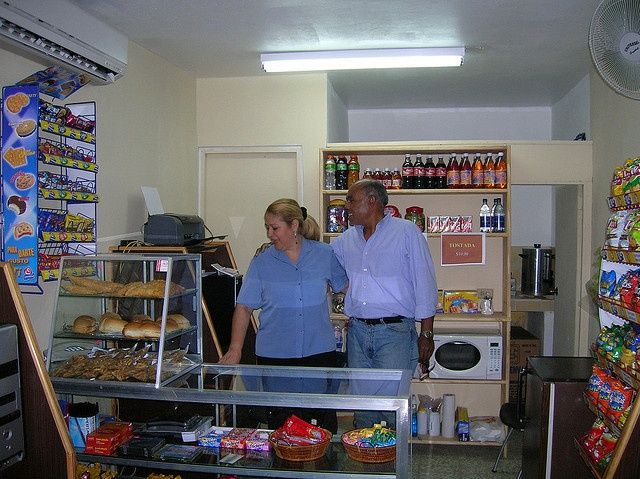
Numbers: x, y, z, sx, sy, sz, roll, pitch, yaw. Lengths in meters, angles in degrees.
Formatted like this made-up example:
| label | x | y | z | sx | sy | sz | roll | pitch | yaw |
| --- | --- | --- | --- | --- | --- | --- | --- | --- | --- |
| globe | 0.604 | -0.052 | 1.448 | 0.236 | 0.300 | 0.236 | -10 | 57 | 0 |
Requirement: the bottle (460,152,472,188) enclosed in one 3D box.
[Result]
| label | x | y | z | sx | sy | sz | roll | pitch | yaw |
| --- | --- | --- | --- | --- | --- | --- | --- | --- | --- |
| bottle | 1.251 | -0.596 | 4.603 | 0.111 | 0.316 | 0.113 | 0 | 1 | 0 |

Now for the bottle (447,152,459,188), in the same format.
| label | x | y | z | sx | sy | sz | roll | pitch | yaw |
| --- | --- | --- | --- | --- | --- | --- | --- | --- | --- |
| bottle | 1.157 | -0.594 | 4.629 | 0.100 | 0.326 | 0.211 | 0 | 1 | 12 |

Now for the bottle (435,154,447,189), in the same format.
| label | x | y | z | sx | sy | sz | roll | pitch | yaw |
| --- | --- | --- | --- | --- | --- | --- | --- | --- | --- |
| bottle | 1.053 | -0.581 | 4.621 | 0.092 | 0.295 | 0.135 | 0 | 1 | 11 |

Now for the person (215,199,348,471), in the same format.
| label | x | y | z | sx | sy | sz | roll | pitch | yaw |
| --- | --- | --- | --- | --- | --- | --- | --- | --- | --- |
| person | -0.211 | 0.412 | 2.912 | 0.513 | 1.221 | 0.540 | 0 | 0 | 5 |

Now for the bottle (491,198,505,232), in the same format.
| label | x | y | z | sx | sy | sz | roll | pitch | yaw |
| --- | --- | --- | --- | --- | --- | --- | --- | --- | --- |
| bottle | 1.530 | -0.202 | 4.584 | 0.113 | 0.286 | 0.076 | 0 | 1 | 12 |

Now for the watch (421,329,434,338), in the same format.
| label | x | y | z | sx | sy | sz | roll | pitch | yaw |
| --- | --- | --- | --- | --- | --- | --- | --- | --- | --- |
| watch | 0.650 | 0.569 | 3.240 | 0.054 | 0.032 | 0.057 | 1 | 10 | -1 |

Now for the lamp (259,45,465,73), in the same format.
| label | x | y | z | sx | sy | sz | roll | pitch | yaw |
| --- | --- | --- | --- | --- | --- | --- | --- | --- | --- |
| lamp | 0.328 | -1.462 | 4.337 | 1.636 | 0.127 | 0.325 | 0 | 1 | 12 |

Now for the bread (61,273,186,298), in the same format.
| label | x | y | z | sx | sy | sz | roll | pitch | yaw |
| --- | --- | --- | --- | --- | --- | --- | --- | --- | --- |
| bread | -0.961 | 0.216 | 2.492 | 0.383 | 0.071 | 0.199 | 3 | -3 | 4 |

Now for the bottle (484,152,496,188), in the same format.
| label | x | y | z | sx | sy | sz | roll | pitch | yaw |
| --- | --- | --- | --- | --- | --- | --- | --- | --- | --- |
| bottle | 1.444 | -0.585 | 4.549 | 0.082 | 0.313 | 0.108 | 0 | 1 | 17 |

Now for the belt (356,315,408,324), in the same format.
| label | x | y | z | sx | sy | sz | roll | pitch | yaw |
| --- | --- | --- | --- | --- | --- | --- | --- | --- | --- |
| belt | 0.369 | 0.481 | 3.183 | 0.280 | 0.052 | 0.060 | 0 | 1 | 5 |

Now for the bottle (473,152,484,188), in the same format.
| label | x | y | z | sx | sy | sz | roll | pitch | yaw |
| --- | --- | --- | --- | --- | --- | --- | --- | --- | --- |
| bottle | 1.346 | -0.584 | 4.540 | 0.090 | 0.311 | 0.089 | 0 | 1 | 0 |

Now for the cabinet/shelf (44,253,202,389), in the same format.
| label | x | y | z | sx | sy | sz | roll | pitch | yaw |
| --- | --- | --- | --- | --- | --- | --- | --- | --- | --- |
| cabinet/shelf | -0.866 | 0.342 | 2.693 | 0.756 | 0.738 | 0.558 | -1 | -4 | 12 |

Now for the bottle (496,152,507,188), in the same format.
| label | x | y | z | sx | sy | sz | roll | pitch | yaw |
| --- | --- | --- | --- | --- | --- | --- | --- | --- | --- |
| bottle | 1.540 | -0.581 | 4.545 | 0.096 | 0.309 | 0.114 | 0 | 1 | 16 |

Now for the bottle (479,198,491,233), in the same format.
| label | x | y | z | sx | sy | sz | roll | pitch | yaw |
| --- | --- | --- | --- | --- | --- | --- | --- | --- | --- |
| bottle | 1.455 | -0.210 | 4.702 | 0.097 | 0.298 | 0.289 | 0 | 1 | 17 |

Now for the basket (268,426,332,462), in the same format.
| label | x | y | z | sx | sy | sz | roll | pitch | yaw |
| --- | --- | --- | --- | --- | --- | --- | --- | --- | --- |
| basket | -0.087 | 0.884 | 2.293 | 0.266 | 0.128 | 0.062 | 0 | 1 | 3 |
